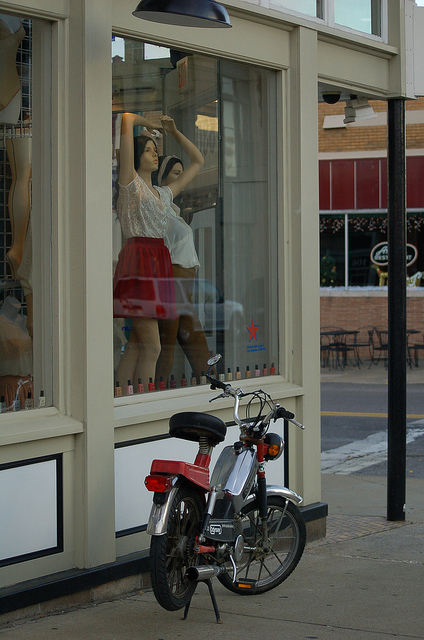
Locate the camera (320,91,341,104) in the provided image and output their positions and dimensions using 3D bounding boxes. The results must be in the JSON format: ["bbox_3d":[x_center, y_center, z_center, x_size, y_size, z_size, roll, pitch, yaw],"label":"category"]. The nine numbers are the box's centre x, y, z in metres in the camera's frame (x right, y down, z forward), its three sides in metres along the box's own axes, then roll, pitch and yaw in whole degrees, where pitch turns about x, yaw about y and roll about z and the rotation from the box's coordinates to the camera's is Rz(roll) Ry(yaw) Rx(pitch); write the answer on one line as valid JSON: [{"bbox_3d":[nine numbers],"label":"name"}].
[{"bbox_3d":[0.896,-1.654,6.515,0.079,0.057,0.082,1,2,35],"label":"camera"}]

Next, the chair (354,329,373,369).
[{"bbox_3d":[3.350,0.603,19.622,0.522,0.700,0.494,0,-3,-37],"label":"chair"}]

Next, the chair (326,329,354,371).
[{"bbox_3d":[2.852,0.618,19.113,0.619,0.845,0.564,-3,-5,4],"label":"chair"}]

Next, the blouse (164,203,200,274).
[{"bbox_3d":[-0.220,-0.521,5.350,0.243,0.461,0.328,-8,6,3],"label":"blouse"}]

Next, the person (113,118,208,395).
[{"bbox_3d":[-0.314,-0.376,5.001,0.206,1.284,0.851,3,1,18],"label":"person"}]

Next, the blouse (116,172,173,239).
[{"bbox_3d":[-0.382,-0.648,5.081,0.204,0.425,0.405,-7,-12,39],"label":"blouse"}]
